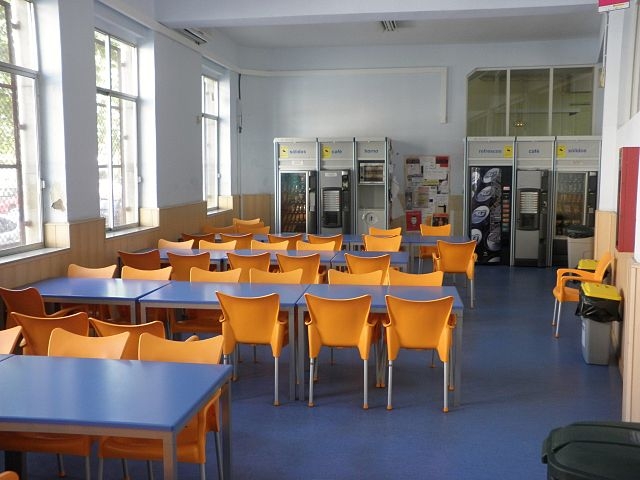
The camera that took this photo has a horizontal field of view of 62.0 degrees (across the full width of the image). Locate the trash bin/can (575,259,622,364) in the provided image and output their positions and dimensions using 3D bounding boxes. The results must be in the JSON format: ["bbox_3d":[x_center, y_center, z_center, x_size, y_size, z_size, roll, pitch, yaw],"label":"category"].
[{"bbox_3d":[2.901,0.851,5.529,0.411,0.818,0.519,5,10,28],"label":"trash bin/can"}]

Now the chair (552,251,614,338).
[{"bbox_3d":[3.091,0.661,6.299,0.568,0.918,0.544,1,7,25],"label":"chair"}]
